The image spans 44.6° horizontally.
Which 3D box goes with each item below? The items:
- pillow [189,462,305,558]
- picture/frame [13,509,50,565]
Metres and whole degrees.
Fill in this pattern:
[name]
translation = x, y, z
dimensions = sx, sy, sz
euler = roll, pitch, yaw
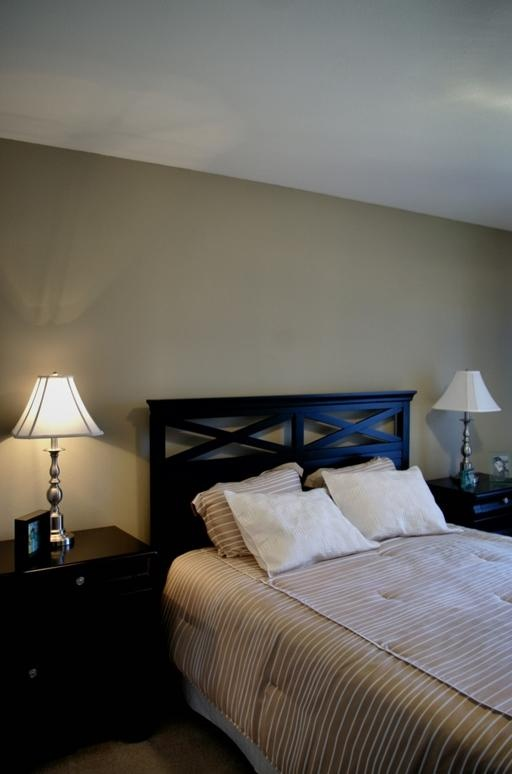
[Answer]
[pillow]
translation = -0.026, 0.505, 2.531
dimensions = 0.092, 0.341, 0.354
euler = -35, -22, 33
[picture/frame]
translation = -0.776, 0.513, 2.098
dimensions = 0.054, 0.175, 0.175
euler = -6, -9, -11
